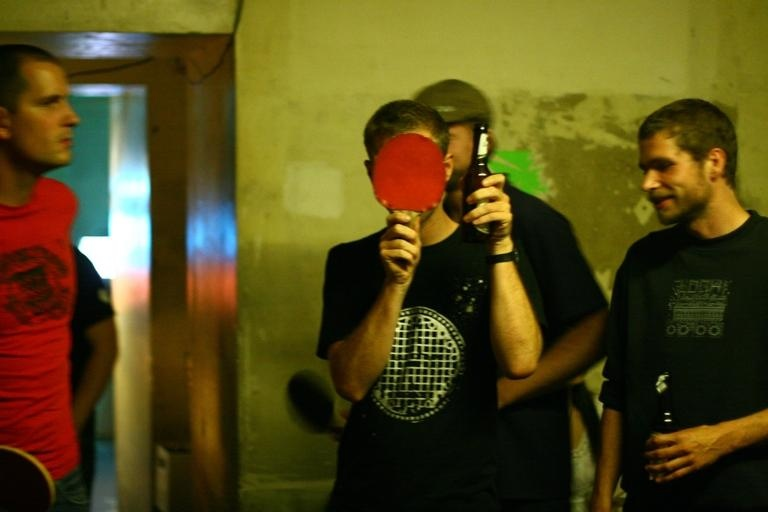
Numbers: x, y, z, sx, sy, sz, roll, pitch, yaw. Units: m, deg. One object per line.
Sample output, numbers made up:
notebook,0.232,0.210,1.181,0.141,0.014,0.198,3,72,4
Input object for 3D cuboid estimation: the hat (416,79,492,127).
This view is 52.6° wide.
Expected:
hat,0.298,-0.652,3.214,0.258,0.174,0.321,10,21,24

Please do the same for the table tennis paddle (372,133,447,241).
table tennis paddle,0.085,-0.294,2.785,0.255,0.301,0.043,1,1,-2

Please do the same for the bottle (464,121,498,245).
bottle,0.352,-0.290,2.982,0.174,0.446,0.124,4,-8,-25
